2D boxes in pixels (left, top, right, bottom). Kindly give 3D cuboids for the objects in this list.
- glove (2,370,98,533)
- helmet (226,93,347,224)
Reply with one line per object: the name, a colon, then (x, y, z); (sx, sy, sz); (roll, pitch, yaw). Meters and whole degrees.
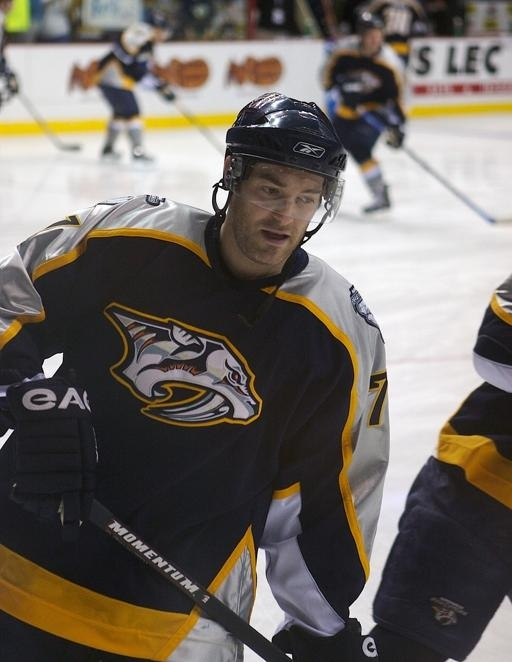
glove: (-0.342, 0.200, 1.255); (0.170, 0.238, 0.062); (5, -25, -24)
helmet: (0.050, -0.322, 1.419); (0.240, 0.264, 0.168); (3, 18, 3)
